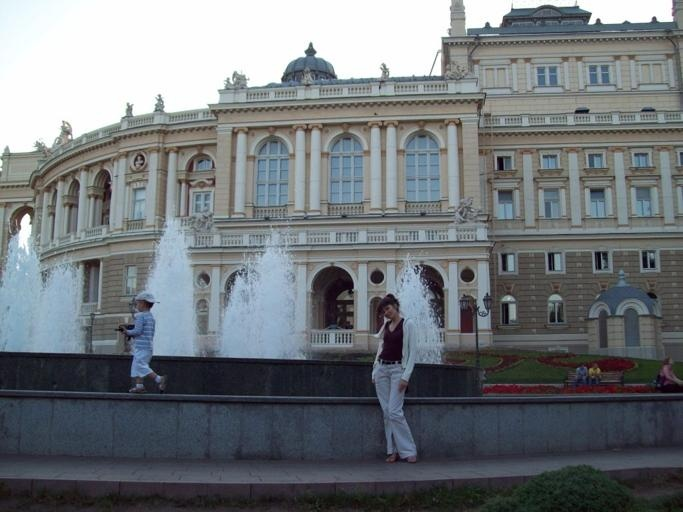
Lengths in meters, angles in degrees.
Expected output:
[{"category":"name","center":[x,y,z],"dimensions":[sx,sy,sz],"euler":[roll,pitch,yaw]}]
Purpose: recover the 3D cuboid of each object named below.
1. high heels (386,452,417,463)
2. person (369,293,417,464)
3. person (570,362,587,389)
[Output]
[{"category":"high heels","center":[0.925,3.182,11.010],"dimensions":[0.550,0.214,0.169],"euler":[-5,-3,15]},{"category":"person","center":[0.868,1.947,11.181],"dimensions":[0.709,2.668,0.409],"euler":[-4,-12,11]},{"category":"person","center":[9.192,4.662,26.805],"dimensions":[0.429,0.645,1.077],"euler":[-1,18,22]}]
